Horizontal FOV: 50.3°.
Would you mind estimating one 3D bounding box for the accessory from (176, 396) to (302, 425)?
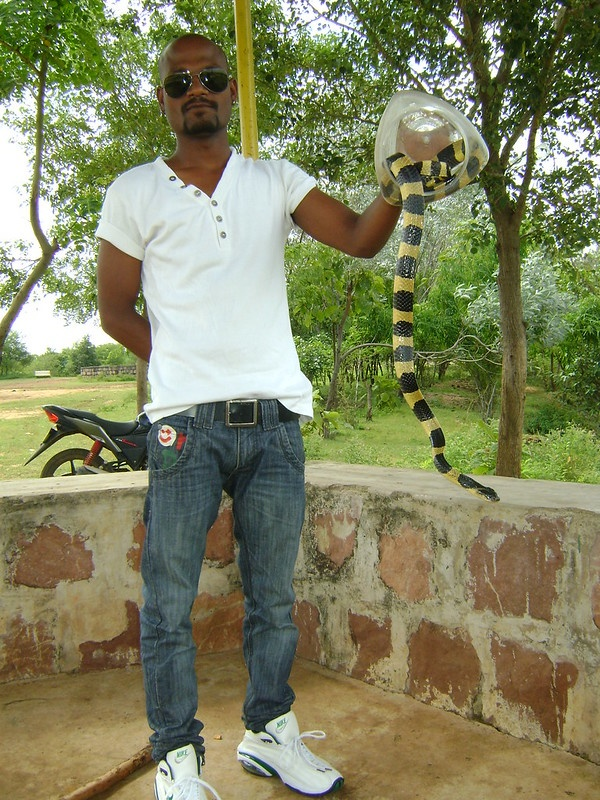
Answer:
[{"bbox_3d":[-0.130,0.029,1.569,0.323,0.067,0.069,-2,5,-25],"label":"accessory"}]

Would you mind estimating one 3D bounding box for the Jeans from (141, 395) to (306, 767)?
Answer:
[{"bbox_3d":[-0.201,0.433,1.641,0.441,0.877,0.206,-4,6,-36],"label":"Jeans"}]

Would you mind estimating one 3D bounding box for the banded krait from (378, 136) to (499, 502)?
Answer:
[{"bbox_3d":[0.321,-0.188,1.790,0.413,0.861,0.409,2,12,17],"label":"banded krait"}]
